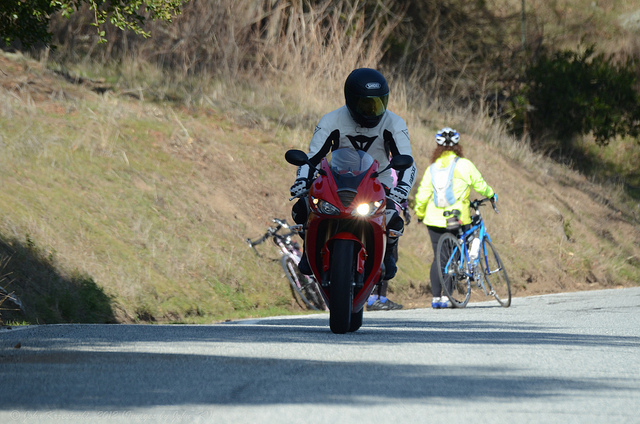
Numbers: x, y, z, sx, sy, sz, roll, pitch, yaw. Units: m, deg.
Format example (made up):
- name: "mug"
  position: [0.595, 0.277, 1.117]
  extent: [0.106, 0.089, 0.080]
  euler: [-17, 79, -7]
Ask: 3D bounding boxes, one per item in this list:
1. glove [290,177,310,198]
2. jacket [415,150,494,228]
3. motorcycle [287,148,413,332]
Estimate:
- name: "glove"
  position: [-0.296, -0.371, 17.184]
  extent: [0.207, 0.330, 0.293]
  euler: [5, 38, -2]
- name: "jacket"
  position: [2.767, -0.475, 22.239]
  extent: [1.538, 1.899, 0.945]
  euler: [-4, -20, 12]
- name: "motorcycle"
  position: [0.377, 0.551, 17.192]
  extent: [1.627, 3.005, 1.116]
  euler: [7, 15, 4]
